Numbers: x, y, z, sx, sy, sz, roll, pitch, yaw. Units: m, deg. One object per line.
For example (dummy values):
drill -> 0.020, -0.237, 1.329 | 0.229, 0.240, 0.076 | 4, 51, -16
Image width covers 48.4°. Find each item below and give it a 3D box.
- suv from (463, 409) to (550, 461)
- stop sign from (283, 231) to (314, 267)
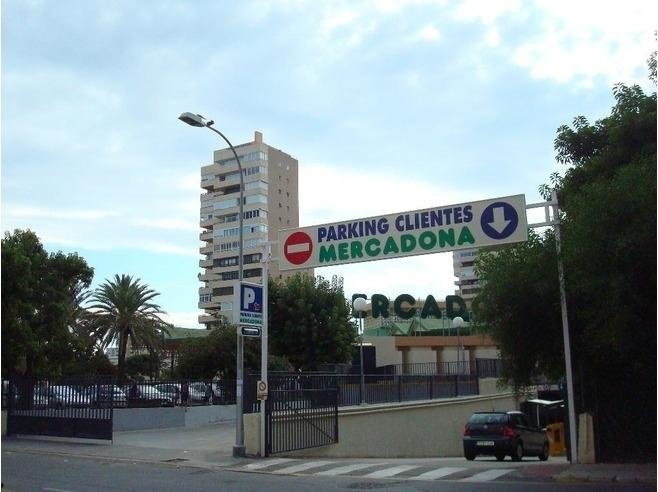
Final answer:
suv -> 6.258, 6.705, 25.904 | 3.713, 1.658, 1.469 | 10, -16, -39
stop sign -> -0.956, 0.070, 22.916 | 0.031, 1.064, 0.929 | 2, -5, -43
